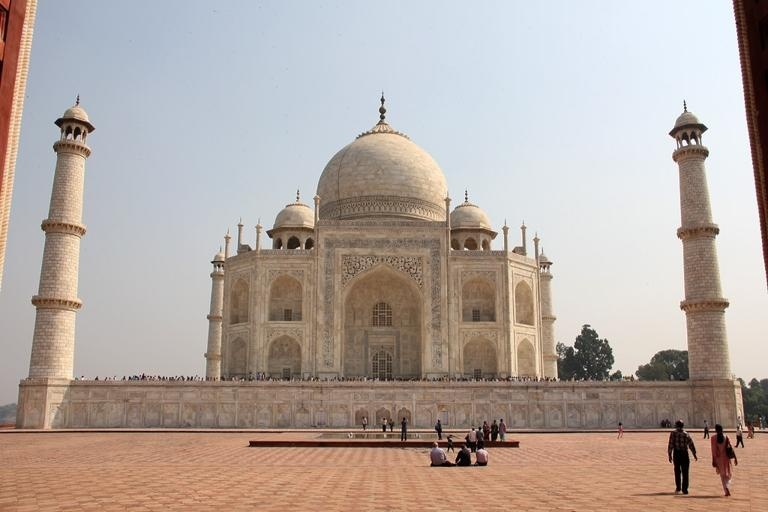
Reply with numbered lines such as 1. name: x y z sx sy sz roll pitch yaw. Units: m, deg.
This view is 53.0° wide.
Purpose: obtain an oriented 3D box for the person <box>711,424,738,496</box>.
1. person: 6.613 3.958 15.016 0.420 1.332 1.162 -6 -15 21

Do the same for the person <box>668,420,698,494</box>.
1. person: 5.825 3.918 15.076 0.463 1.375 1.071 -6 -15 20

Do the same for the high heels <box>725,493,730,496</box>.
1. high heels: 6.428 4.470 14.425 0.089 0.062 0.187 -9 -16 32
